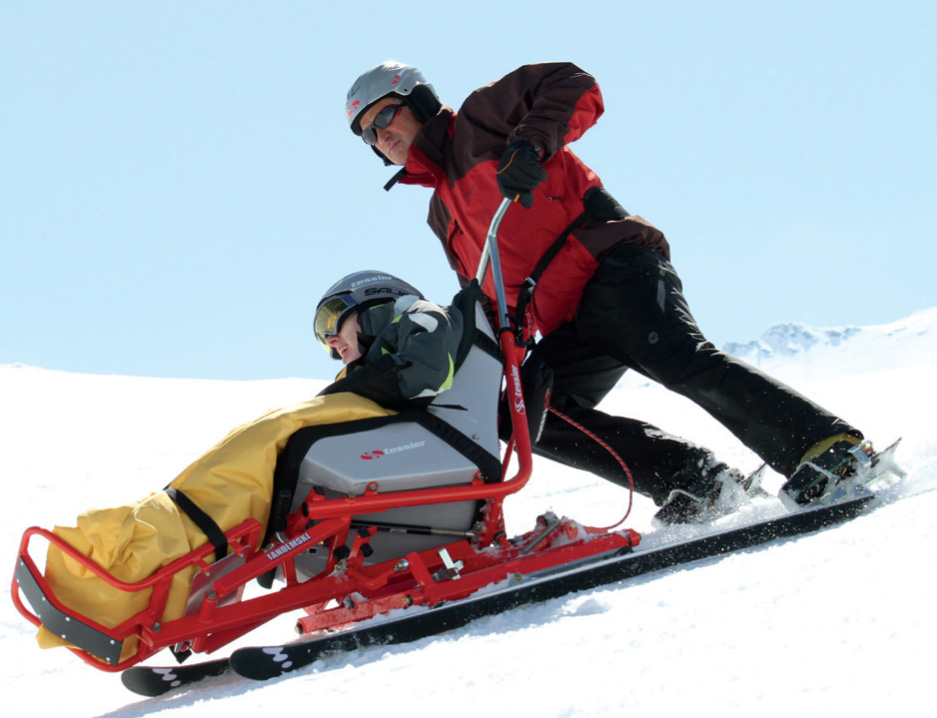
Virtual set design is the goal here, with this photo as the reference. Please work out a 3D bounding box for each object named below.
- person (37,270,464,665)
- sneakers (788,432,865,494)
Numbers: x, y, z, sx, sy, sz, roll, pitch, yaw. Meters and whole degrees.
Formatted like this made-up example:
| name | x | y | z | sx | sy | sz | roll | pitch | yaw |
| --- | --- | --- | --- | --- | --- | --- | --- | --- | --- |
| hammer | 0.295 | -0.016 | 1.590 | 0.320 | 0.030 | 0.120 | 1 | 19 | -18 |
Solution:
| name | x | y | z | sx | sy | sz | roll | pitch | yaw |
| --- | --- | --- | --- | --- | --- | --- | --- | --- | --- |
| person | -0.852 | 0.469 | 4.173 | 2.168 | 1.072 | 1.076 | -31 | 25 | -15 |
| sneakers | 1.665 | 0.486 | 4.229 | 0.376 | 0.126 | 0.250 | -28 | 32 | -6 |
